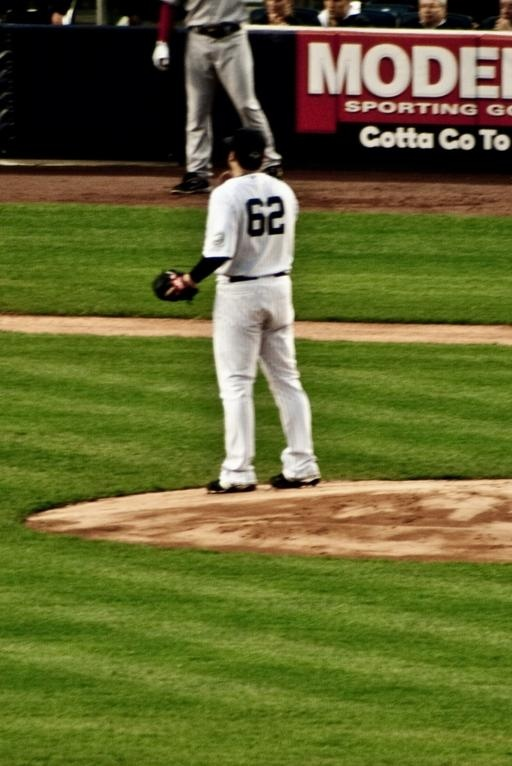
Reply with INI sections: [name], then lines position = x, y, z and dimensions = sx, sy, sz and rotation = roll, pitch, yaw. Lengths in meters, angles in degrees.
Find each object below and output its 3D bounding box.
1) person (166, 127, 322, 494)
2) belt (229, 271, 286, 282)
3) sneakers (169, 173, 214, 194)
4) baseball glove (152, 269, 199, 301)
[person]
position = -0.027, -0.262, 6.498
dimensions = 0.577, 1.455, 0.311
rotation = -8, 14, -41
[belt]
position = 0.006, -0.408, 6.367
dimensions = 0.239, 0.040, 0.055
rotation = -3, 11, -22
[sneakers]
position = -0.432, -1.320, 10.876
dimensions = 0.266, 0.132, 0.111
rotation = -3, 23, 6
[baseball glove]
position = -0.324, -0.378, 6.479
dimensions = 0.143, 0.122, 0.063
rotation = -16, -6, 26
